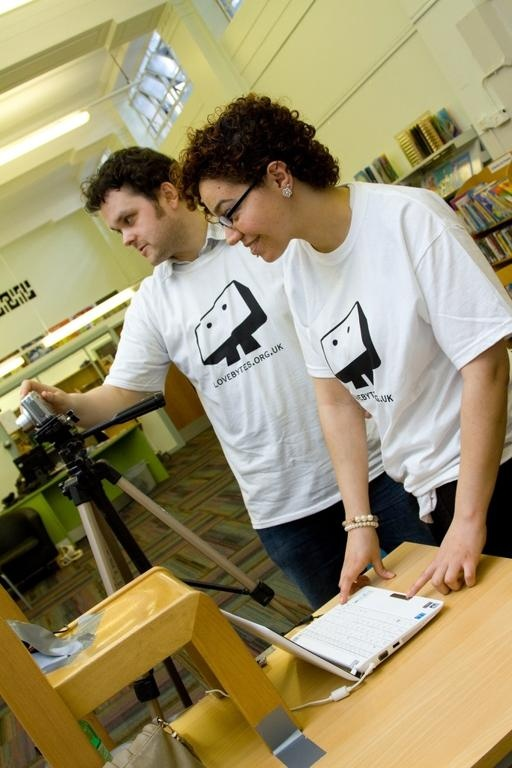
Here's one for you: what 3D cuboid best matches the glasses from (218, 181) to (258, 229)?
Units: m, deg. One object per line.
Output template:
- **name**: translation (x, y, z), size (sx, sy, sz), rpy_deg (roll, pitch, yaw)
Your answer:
- **glasses**: translation (-0.035, -0.308, 0.922), size (0.060, 0.018, 0.056), rpy_deg (-54, 1, -3)
